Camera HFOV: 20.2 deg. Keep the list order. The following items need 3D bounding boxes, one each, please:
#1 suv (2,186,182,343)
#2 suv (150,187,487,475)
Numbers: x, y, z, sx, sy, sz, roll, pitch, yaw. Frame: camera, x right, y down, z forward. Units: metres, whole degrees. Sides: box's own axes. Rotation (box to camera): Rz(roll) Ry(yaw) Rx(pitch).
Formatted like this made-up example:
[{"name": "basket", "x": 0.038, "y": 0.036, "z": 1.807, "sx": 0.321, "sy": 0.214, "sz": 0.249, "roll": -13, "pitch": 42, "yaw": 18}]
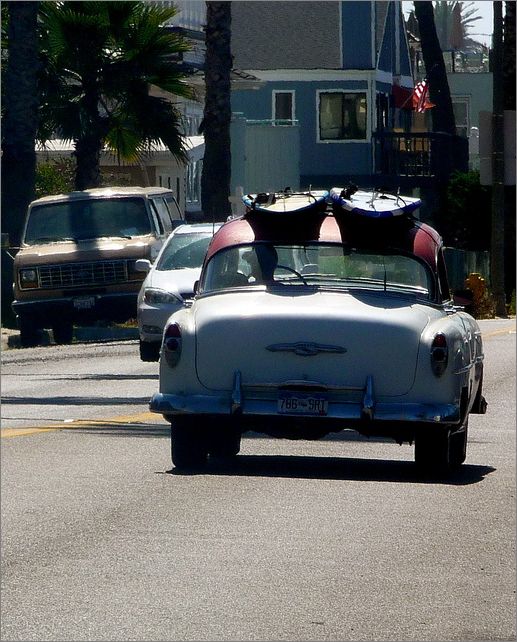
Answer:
[{"name": "suv", "x": -2.699, "y": -1.058, "z": 22.126, "sx": 1.523, "sy": 1.798, "sz": 2.995, "roll": -2, "pitch": -1, "yaw": 11}, {"name": "suv", "x": 0.507, "y": 0.090, "z": 10.236, "sx": 1.288, "sy": 1.329, "sz": 2.449, "roll": 0, "pitch": -2, "yaw": 10}]
